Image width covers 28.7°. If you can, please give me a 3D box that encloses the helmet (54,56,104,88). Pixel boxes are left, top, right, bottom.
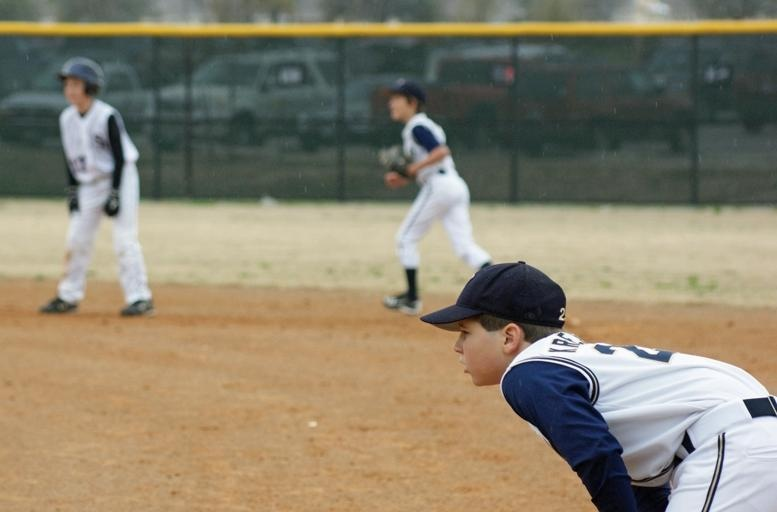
[{"bbox_3d":[-2.671,-1.616,13.475,0.462,0.223,0.526,3,5,-2],"label":"helmet"}]

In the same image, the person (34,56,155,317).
[{"bbox_3d":[-2.533,-0.569,13.392,0.892,2.264,0.366,0,7,-5],"label":"person"}]

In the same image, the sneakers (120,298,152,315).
[{"bbox_3d":[-2.223,0.465,13.558,0.249,0.105,0.129,-4,6,-7],"label":"sneakers"}]

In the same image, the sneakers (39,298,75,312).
[{"bbox_3d":[-2.910,0.456,13.522,0.323,0.135,0.126,3,2,-16],"label":"sneakers"}]

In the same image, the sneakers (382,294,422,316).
[{"bbox_3d":[0.140,0.470,14.175,0.329,0.145,0.159,21,13,19],"label":"sneakers"}]

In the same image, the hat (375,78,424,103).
[{"bbox_3d":[0.149,-1.524,14.240,0.321,0.165,0.231,20,6,-12],"label":"hat"}]

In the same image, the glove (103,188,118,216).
[{"bbox_3d":[-2.410,-0.460,13.307,0.087,0.207,0.126,4,6,-29],"label":"glove"}]

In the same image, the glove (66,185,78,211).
[{"bbox_3d":[-2.744,-0.491,13.355,0.104,0.183,0.179,3,20,1],"label":"glove"}]
